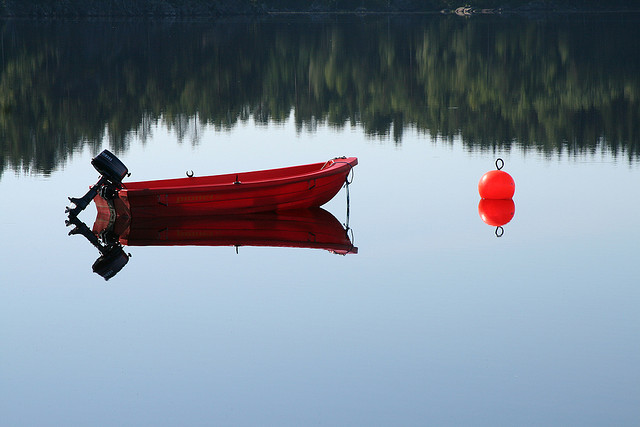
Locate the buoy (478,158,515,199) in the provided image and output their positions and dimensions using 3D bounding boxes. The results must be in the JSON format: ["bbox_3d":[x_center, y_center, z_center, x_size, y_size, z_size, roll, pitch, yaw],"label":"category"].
[{"bbox_3d":[8.053,-1.562,61.053,1.645,2.405,1.700,3,-6,-2],"label":"buoy"}]
